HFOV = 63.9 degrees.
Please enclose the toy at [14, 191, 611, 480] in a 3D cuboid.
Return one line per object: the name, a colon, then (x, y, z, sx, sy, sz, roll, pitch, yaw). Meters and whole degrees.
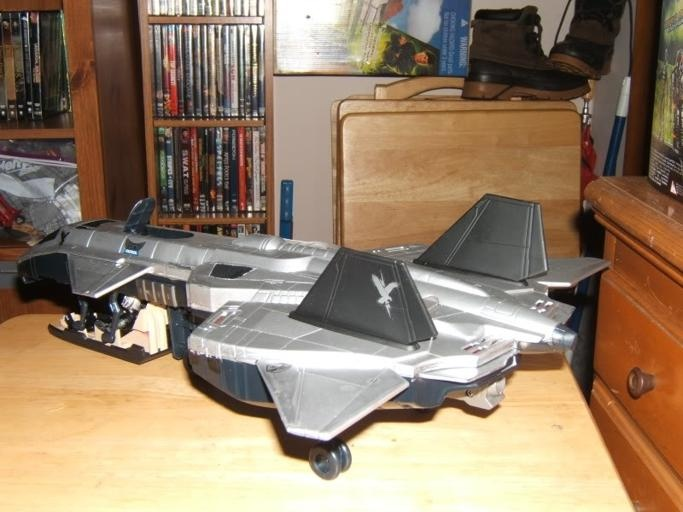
toy: (-0.086, 0.061, 0.844, 0.765, 0.205, 0.498, 13, 23, 26)
